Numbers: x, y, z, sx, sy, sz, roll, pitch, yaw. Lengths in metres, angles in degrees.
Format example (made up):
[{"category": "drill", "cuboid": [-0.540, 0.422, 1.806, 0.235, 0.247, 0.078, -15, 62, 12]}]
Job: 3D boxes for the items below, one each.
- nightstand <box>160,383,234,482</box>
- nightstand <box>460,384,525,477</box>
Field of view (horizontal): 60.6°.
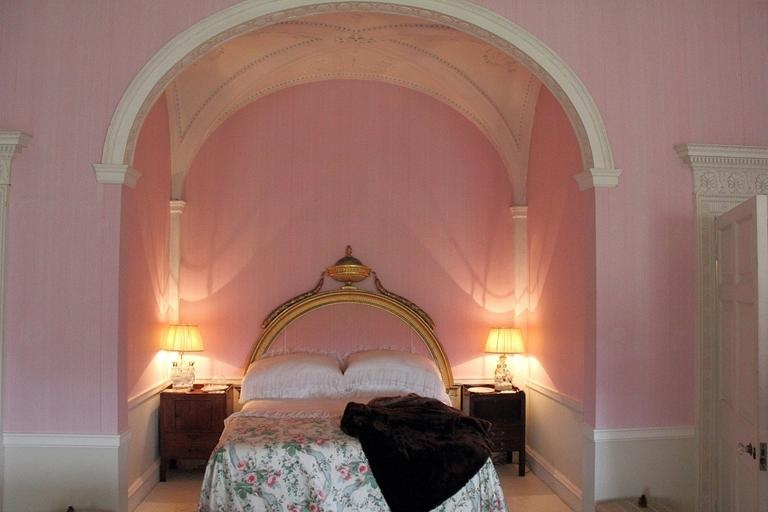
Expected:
[{"category": "nightstand", "cuboid": [-2.008, 2.040, 7.734, 0.831, 1.383, 0.896, 0, -4, -4]}, {"category": "nightstand", "cuboid": [1.259, 2.086, 7.898, 0.840, 1.413, 0.830, 0, -3, -2]}]
